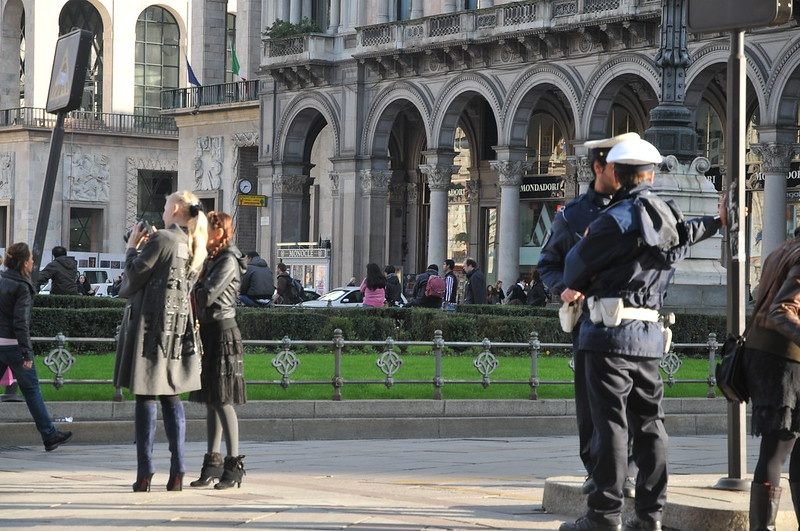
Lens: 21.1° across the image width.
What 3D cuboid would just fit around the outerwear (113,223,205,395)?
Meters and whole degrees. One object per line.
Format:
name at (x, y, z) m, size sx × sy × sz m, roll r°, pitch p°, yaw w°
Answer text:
outerwear at (-4.049, 0.760, 36.211) m, size 1.381 × 2.894 × 0.290 m, roll 1°, pitch -1°, yaw -6°

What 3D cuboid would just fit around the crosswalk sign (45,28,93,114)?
crosswalk sign at (-6.202, -3.728, 40.357) m, size 0.735 × 1.608 × 1.223 m, roll 1°, pitch -1°, yaw -14°

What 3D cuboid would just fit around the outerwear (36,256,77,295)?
outerwear at (-8.040, 0.250, 50.510) m, size 1.202 × 1.123 × 0.398 m, roll -1°, pitch 4°, yaw -44°

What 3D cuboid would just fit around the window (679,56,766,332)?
window at (5.529, -1.215, 35.990) m, size 1.164 × 5.589 × 1.075 m, roll 6°, pitch 20°, yaw 23°

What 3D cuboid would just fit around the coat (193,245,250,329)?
coat at (-3.075, 0.372, 36.578) m, size 1.266 × 1.507 × 1.241 m, roll 6°, pitch -8°, yaw -2°
